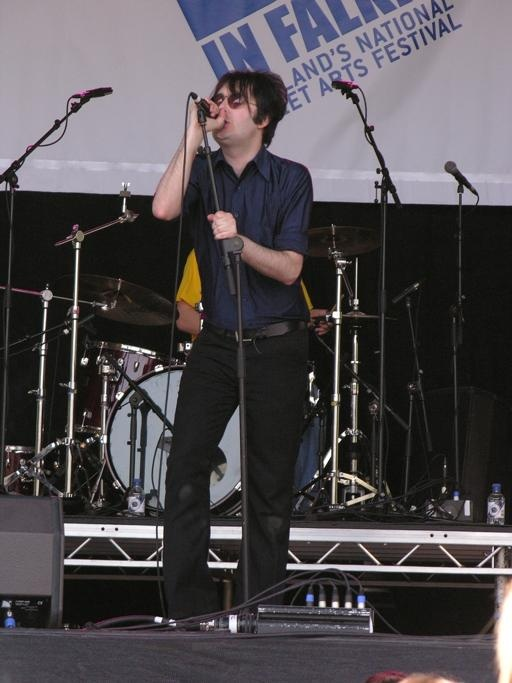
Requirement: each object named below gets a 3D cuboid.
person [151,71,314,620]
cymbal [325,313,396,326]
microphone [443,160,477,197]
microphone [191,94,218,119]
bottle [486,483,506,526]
[{"bbox_3d":[-0.088,-0.016,3.634,0.396,1.684,0.508,-2,-6,29],"label":"person"},{"bbox_3d":[0.501,-0.117,5.922,0.183,0.039,0.187,-3,-6,43],"label":"cymbal"},{"bbox_3d":[0.962,-0.769,5.585,0.209,0.057,0.066,42,-20,-16],"label":"microphone"},{"bbox_3d":[-0.147,-0.681,3.472,0.033,0.046,0.110,35,7,30],"label":"microphone"},{"bbox_3d":[0.978,0.661,4.836,0.063,0.154,0.301,0,-6,12],"label":"bottle"}]
